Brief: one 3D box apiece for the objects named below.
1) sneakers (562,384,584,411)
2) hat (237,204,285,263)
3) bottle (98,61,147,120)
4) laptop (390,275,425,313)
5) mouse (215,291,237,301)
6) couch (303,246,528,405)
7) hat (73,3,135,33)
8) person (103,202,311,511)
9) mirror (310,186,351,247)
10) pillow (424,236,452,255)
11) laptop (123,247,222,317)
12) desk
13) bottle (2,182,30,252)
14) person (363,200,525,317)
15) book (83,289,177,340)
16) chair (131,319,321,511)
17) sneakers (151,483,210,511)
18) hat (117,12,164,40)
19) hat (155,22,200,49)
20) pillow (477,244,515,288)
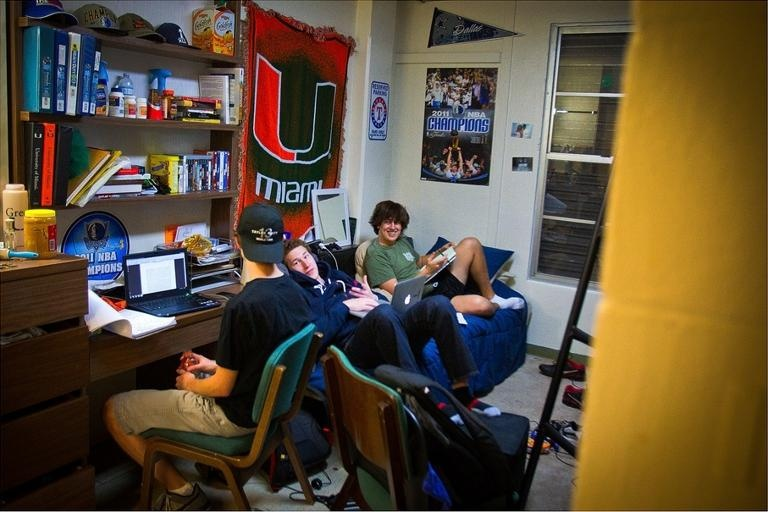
[{"bbox_3d":[1.398,1.027,3.603,0.139,0.160,0.403,6,12,22],"label":"sneakers"},{"bbox_3d":[-0.539,-0.126,2.154,0.202,0.158,0.327,2,36,-29],"label":"hat"},{"bbox_3d":[-1.433,-0.903,2.638,0.216,0.293,0.348,-2,12,-19],"label":"bottle"},{"bbox_3d":[0.170,0.248,3.436,0.188,0.217,0.304,-11,-29,-7],"label":"laptop"},{"bbox_3d":[-0.914,0.229,2.765,0.083,0.037,0.151,-8,13,-44],"label":"mouse"},{"bbox_3d":[0.326,0.326,4.136,1.882,0.928,1.926,12,15,7],"label":"couch"},{"bbox_3d":[-1.407,-1.181,2.429,0.209,0.121,0.162,0,20,-4],"label":"hat"},{"bbox_3d":[-0.772,0.349,2.162,0.785,1.148,0.501,6,12,21],"label":"person"},{"bbox_3d":[-0.493,-0.339,4.240,0.027,0.595,0.510,-9,0,35],"label":"mirror"},{"bbox_3d":[0.520,-0.115,4.671,0.189,0.055,0.181,-42,-1,-37],"label":"pillow"},{"bbox_3d":[-1.179,0.136,2.706,0.412,0.296,0.477,6,8,10],"label":"laptop"},{"bbox_3d":[-1.041,0.590,2.306,0.504,0.607,0.943,6,12,27],"label":"desk"},{"bbox_3d":[-1.654,-0.180,2.170,0.105,0.284,0.171,-7,14,-36],"label":"bottle"},{"bbox_3d":[0.438,-0.066,4.255,1.471,1.053,0.747,1,19,14],"label":"person"},{"bbox_3d":[-1.263,0.310,2.328,0.274,0.110,0.299,15,9,28],"label":"book"},{"bbox_3d":[-0.639,0.721,2.548,0.892,1.132,0.747,4,-1,8],"label":"chair"},{"bbox_3d":[-0.941,1.119,2.281,0.262,0.111,0.109,4,-4,-4],"label":"sneakers"},{"bbox_3d":[-1.299,-1.219,2.566,0.227,0.084,0.153,27,29,17],"label":"hat"},{"bbox_3d":[-1.184,-1.248,2.752,0.204,0.101,0.132,1,22,-15],"label":"hat"},{"bbox_3d":[1.013,0.074,4.404,0.094,0.307,0.328,11,9,-27],"label":"pillow"}]
